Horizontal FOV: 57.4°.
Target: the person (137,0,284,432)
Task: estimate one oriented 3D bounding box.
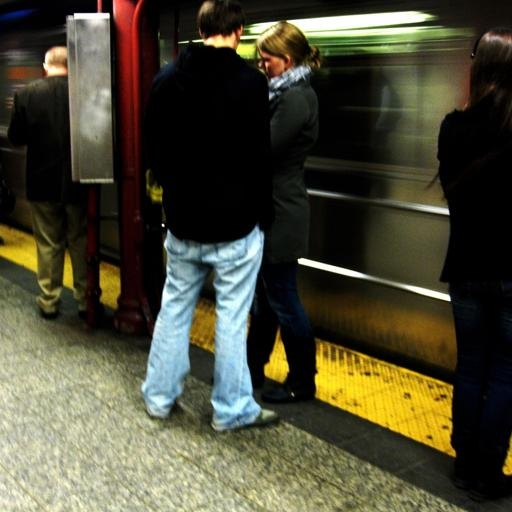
[{"bbox_3d":[-0.206,-0.121,1.925,0.559,1.809,0.326,4,7,3],"label":"person"}]

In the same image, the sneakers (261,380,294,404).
[{"bbox_3d":[0.113,0.718,2.463,0.179,0.082,0.077,13,2,-6],"label":"sneakers"}]

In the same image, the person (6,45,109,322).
[{"bbox_3d":[-1.471,-0.520,3.405,0.636,1.928,0.282,6,7,24],"label":"person"}]

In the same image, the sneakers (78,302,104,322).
[{"bbox_3d":[-1.196,0.421,3.415,0.143,0.161,0.141,-4,9,-42],"label":"sneakers"}]
